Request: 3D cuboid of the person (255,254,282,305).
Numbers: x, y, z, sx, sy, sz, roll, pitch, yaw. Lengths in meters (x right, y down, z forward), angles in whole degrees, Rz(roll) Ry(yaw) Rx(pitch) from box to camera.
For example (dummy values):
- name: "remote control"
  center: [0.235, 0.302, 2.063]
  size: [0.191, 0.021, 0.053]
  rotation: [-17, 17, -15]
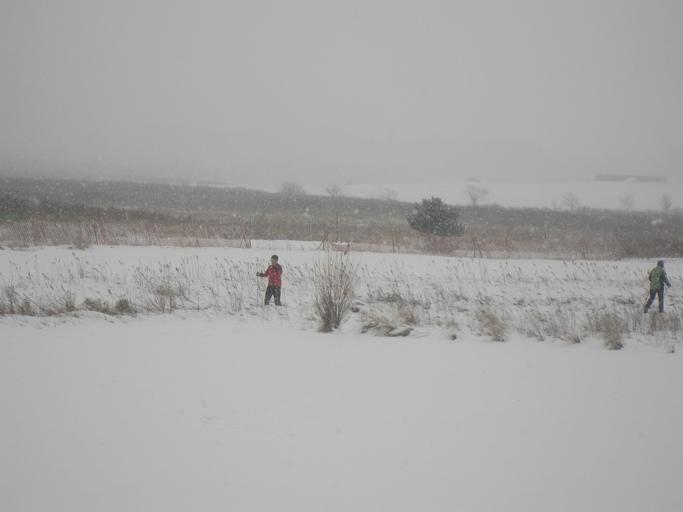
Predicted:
- name: "person"
  center: [-1.184, 0.416, 15.373]
  size: [0.393, 1.009, 0.371]
  rotation: [-8, 30, -22]

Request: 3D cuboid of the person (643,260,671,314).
- name: "person"
  center: [5.364, 0.495, 15.249]
  size: [0.371, 0.890, 0.752]
  rotation: [6, 9, 20]
